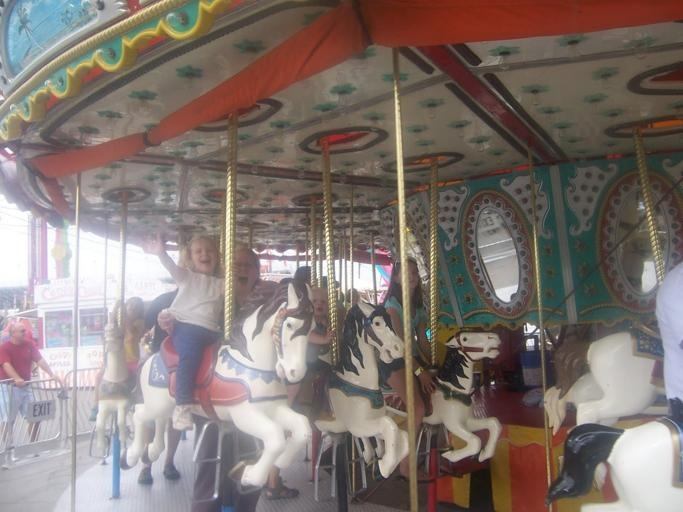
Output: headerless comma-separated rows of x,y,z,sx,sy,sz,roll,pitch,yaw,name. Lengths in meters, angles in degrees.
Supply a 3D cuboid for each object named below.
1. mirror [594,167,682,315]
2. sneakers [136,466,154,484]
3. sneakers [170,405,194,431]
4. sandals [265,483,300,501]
3.145,-0.150,6.665,0.873,1.498,0.496,-6,-15,22,mirror
-2.252,2.509,7.359,0.171,0.212,0.253,4,-14,-16,sneakers
-1.229,1.248,4.973,0.153,0.180,0.272,3,-14,-13,sneakers
-0.619,2.476,6.787,0.360,0.160,0.134,-2,0,-19,sandals
